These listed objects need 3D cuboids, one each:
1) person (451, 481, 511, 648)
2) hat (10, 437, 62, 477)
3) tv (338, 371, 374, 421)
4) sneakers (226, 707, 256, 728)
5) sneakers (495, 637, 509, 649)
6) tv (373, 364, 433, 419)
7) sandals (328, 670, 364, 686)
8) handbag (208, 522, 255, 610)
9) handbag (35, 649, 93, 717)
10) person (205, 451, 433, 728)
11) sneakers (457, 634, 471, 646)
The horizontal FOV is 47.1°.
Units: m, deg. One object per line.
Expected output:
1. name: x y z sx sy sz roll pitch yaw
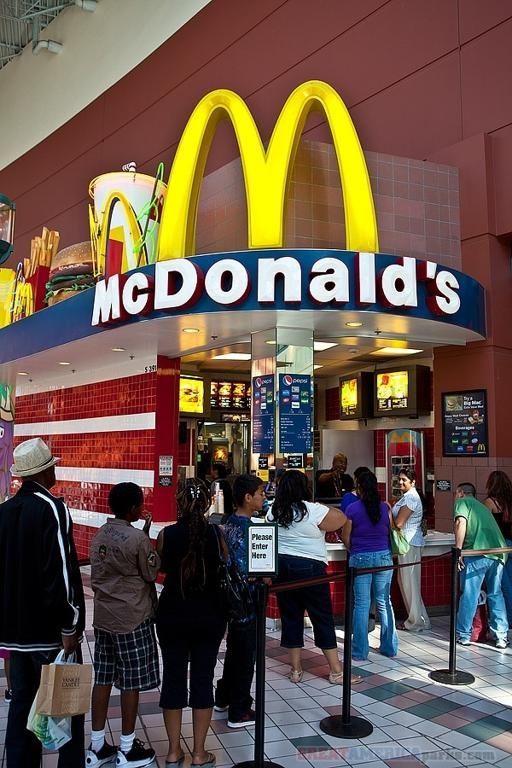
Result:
1. person: 1.899 1.521 4.956 0.434 1.345 1.152 -2 -11 18
2. hat: -0.932 0.285 2.415 0.157 0.077 0.184 -26 16 -20
3. tv: 1.662 0.195 9.597 0.234 0.667 0.685 4 -12 -14
4. sneakers: -0.081 1.796 3.144 0.063 0.076 0.171 -5 -9 37
5. sneakers: 2.048 2.167 4.896 0.088 0.061 0.167 -3 -11 21
6. tv: 2.193 0.128 8.928 0.330 0.813 0.871 5 -9 -36
7. sandals: 0.588 1.925 3.855 0.240 0.113 0.096 1 -6 -6
8. handbag: -0.105 0.871 2.768 0.110 0.458 0.246 0 1 -9
9. handbag: -0.639 1.018 1.940 0.090 0.158 0.163 -32 -39 28
10. person: 0.288 1.264 3.834 0.530 1.407 1.980 -6 -13 34
11. sneakers: 1.787 2.171 4.970 0.176 0.062 0.105 6 -12 -24
